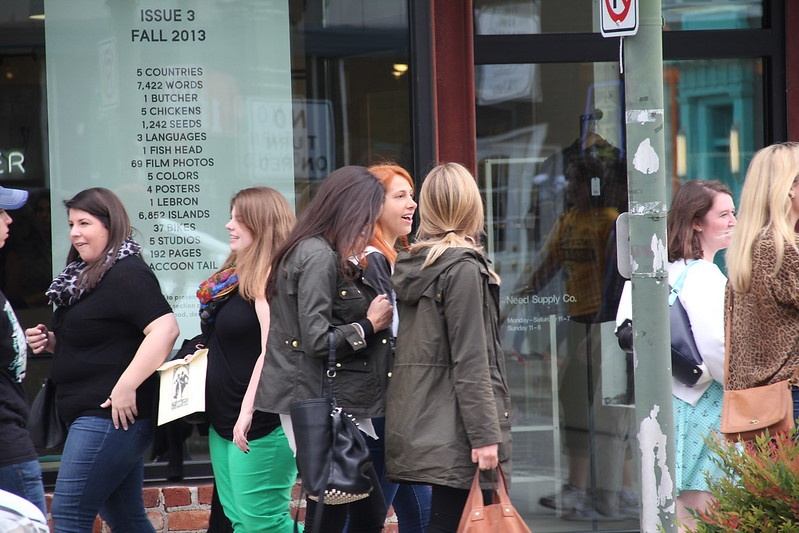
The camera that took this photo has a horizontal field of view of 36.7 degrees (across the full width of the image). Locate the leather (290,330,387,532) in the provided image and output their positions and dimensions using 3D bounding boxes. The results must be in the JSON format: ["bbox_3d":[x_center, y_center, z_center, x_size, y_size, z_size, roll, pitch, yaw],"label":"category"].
[{"bbox_3d":[-0.391,0.985,7.073,0.505,1.207,0.353,-2,4,-1],"label":"leather"}]

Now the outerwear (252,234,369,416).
[{"bbox_3d":[-0.581,0.391,7.678,0.870,1.281,1.238,0,0,-5],"label":"outerwear"}]

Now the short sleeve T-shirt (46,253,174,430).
[{"bbox_3d":[-1.966,0.520,7.976,0.723,1.194,1.180,5,-15,-21],"label":"short sleeve T-shirt"}]
